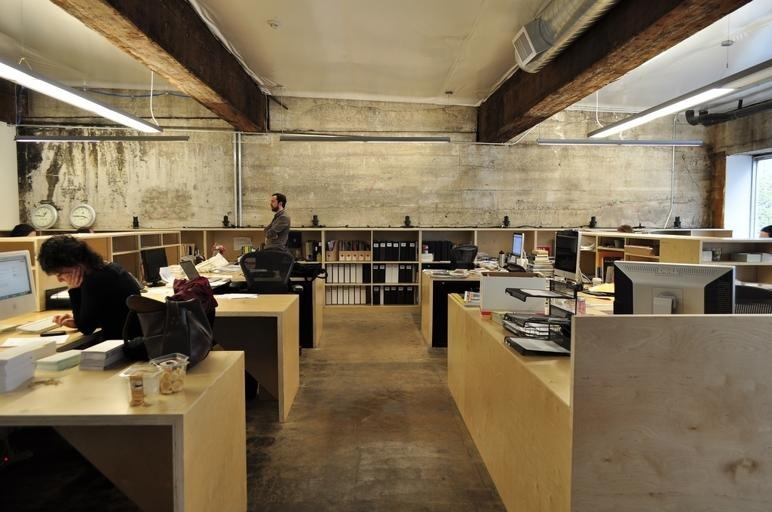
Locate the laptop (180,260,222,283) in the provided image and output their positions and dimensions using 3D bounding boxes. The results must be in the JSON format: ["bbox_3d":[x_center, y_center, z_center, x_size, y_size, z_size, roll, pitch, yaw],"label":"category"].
[{"bbox_3d":[-2.082,0.195,6.096,0.376,0.312,0.477,-4,2,-8],"label":"laptop"}]

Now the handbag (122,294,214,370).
[{"bbox_3d":[-1.607,0.554,4.183,0.685,0.617,0.470,-2,3,-12],"label":"handbag"}]

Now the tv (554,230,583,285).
[{"bbox_3d":[2.053,0.029,6.166,0.231,0.663,0.686,1,-1,-5],"label":"tv"}]

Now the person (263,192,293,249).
[{"bbox_3d":[-1.565,-0.471,7.850,0.317,0.802,0.550,-3,10,-11],"label":"person"}]

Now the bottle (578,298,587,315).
[{"bbox_3d":[1.634,0.427,4.562,0.060,0.143,0.160,0,4,7],"label":"bottle"}]

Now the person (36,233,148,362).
[{"bbox_3d":[-2.417,0.345,4.620,0.818,1.027,0.534,-8,9,-1],"label":"person"}]

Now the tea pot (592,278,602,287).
[{"bbox_3d":[2.481,0.309,6.404,0.155,0.098,0.099,0,6,-3],"label":"tea pot"}]

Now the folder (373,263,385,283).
[{"bbox_3d":[-0.113,0.302,8.793,0.256,0.342,0.245,0,3,0],"label":"folder"}]

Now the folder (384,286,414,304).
[{"bbox_3d":[0.220,0.651,8.813,0.443,0.392,0.304,0,-6,-1],"label":"folder"}]

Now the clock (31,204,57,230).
[{"bbox_3d":[-5.421,-0.613,8.662,0.427,0.397,0.099,-5,-3,3],"label":"clock"}]

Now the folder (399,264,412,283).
[{"bbox_3d":[0.318,0.275,8.878,0.248,0.306,0.327,1,1,2],"label":"folder"}]

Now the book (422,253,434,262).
[{"bbox_3d":[0.652,0.028,8.751,0.159,0.115,0.220,-2,-2,31],"label":"book"}]

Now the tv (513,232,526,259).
[{"bbox_3d":[1.975,-0.143,8.119,0.154,0.434,0.450,1,1,-4],"label":"tv"}]
